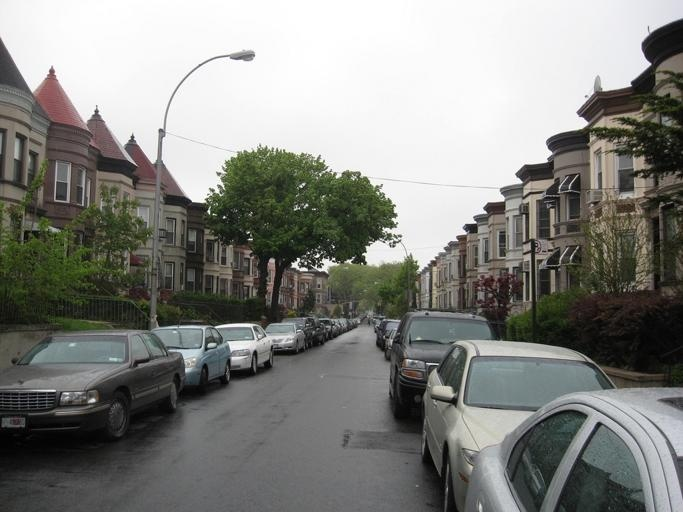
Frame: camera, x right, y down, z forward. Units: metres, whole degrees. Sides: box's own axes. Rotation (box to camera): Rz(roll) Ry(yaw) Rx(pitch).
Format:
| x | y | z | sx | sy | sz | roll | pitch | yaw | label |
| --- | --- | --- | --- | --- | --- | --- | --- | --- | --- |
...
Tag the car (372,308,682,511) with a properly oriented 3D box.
| x | y | z | sx | sy | sz | roll | pitch | yaw | label |
| --- | --- | --- | --- | --- | --- | --- | --- | --- | --- |
| 1.743 | 1.826 | 7.592 | 1.595 | 1.460 | 4.075 | 1 | -10 | 0 | car |
